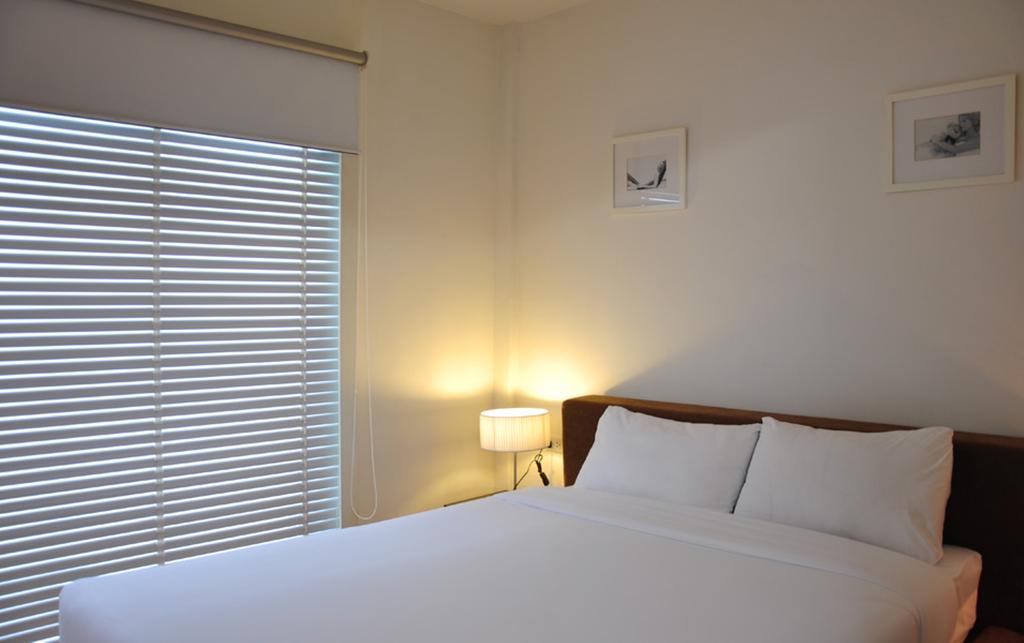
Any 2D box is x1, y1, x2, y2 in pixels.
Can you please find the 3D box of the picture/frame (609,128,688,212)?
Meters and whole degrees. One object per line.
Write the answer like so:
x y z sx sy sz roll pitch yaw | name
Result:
0.855 -0.931 4.340 0.534 0.515 0.040 2 5 38 | picture/frame

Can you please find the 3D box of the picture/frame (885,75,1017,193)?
2.216 -0.938 3.536 0.609 0.652 0.028 -2 0 23 | picture/frame

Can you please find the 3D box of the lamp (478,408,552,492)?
0.053 0.836 4.683 0.453 0.517 0.449 -8 9 -23 | lamp
